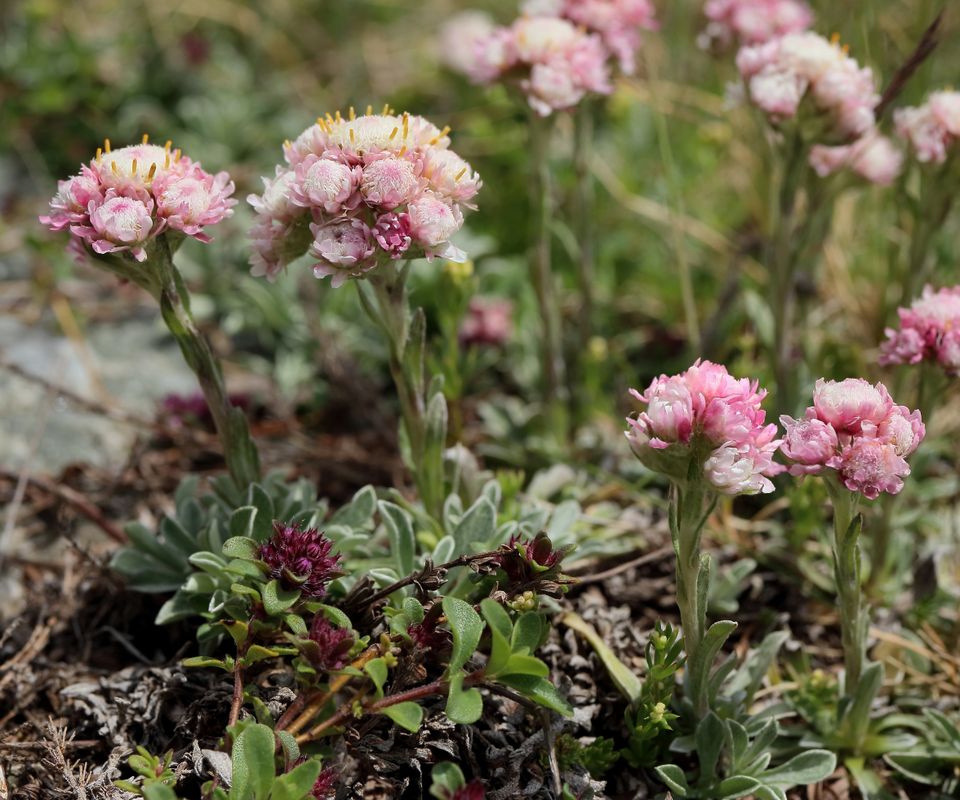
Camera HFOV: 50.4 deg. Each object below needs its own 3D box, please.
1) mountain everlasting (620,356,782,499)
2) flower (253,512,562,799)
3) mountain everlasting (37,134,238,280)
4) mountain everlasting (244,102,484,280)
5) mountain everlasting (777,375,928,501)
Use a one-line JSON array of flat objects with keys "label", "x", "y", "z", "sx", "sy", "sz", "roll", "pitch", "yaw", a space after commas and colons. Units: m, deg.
[{"label": "mountain everlasting", "x": 0.507, "y": 0.060, "z": 2.266, "sx": 0.342, "sy": 0.246, "sz": 0.235, "roll": 23, "pitch": 50, "yaw": 17}, {"label": "flower", "x": -0.162, "y": 0.635, "z": 2.321, "sx": 0.624, "sy": 0.346, "sz": 0.648, "roll": -2, "pitch": 29, "yaw": 5}, {"label": "mountain everlasting", "x": -0.782, "y": -0.468, "z": 2.347, "sx": 0.343, "sy": 0.172, "sz": 0.334, "roll": -15, "pitch": 29, "yaw": -20}, {"label": "mountain everlasting", "x": -0.234, "y": -0.486, "z": 2.403, "sx": 0.440, "sy": 0.273, "sz": 0.450, "roll": 1, "pitch": 29, "yaw": 39}, {"label": "mountain everlasting", "x": 0.830, "y": 0.112, "z": 2.335, "sx": 0.277, "sy": 0.247, "sz": 0.279, "roll": 14, "pitch": 22, "yaw": -48}]
